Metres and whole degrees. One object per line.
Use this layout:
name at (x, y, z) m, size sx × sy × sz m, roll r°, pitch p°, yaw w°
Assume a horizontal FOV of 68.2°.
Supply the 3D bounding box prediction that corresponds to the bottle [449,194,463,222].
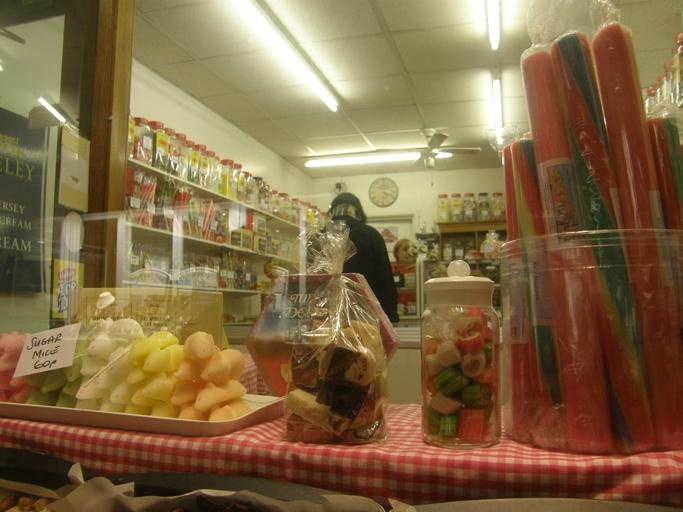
bottle at (0.963, -0.413, 4.232) m, size 0.111 × 0.271 × 0.294 m, roll -3°, pitch -3°, yaw 12°

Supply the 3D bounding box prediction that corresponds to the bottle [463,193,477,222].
bottle at (1.026, -0.391, 4.039) m, size 0.098 × 0.223 × 0.124 m, roll -3°, pitch -3°, yaw 12°

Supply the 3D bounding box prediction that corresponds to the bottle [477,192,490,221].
bottle at (1.116, -0.394, 3.962) m, size 0.096 × 0.209 × 0.144 m, roll -4°, pitch -3°, yaw 14°

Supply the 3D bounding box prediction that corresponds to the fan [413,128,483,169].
fan at (0.766, -0.793, 3.706) m, size 0.322 × 0.138 × 0.333 m, roll 0°, pitch -4°, yaw -4°

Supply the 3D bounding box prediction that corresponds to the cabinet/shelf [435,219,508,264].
cabinet/shelf at (0.892, -0.100, 3.454) m, size 0.322 × 0.324 × 0.107 m, roll -2°, pitch -4°, yaw 34°

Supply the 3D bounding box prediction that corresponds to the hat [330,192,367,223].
hat at (0.028, -0.228, 2.429) m, size 0.139 × 0.132 × 0.166 m, roll -4°, pitch -23°, yaw 10°

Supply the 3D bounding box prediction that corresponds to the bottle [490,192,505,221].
bottle at (1.188, -0.392, 3.858) m, size 0.098 × 0.247 × 0.341 m, roll -4°, pitch -3°, yaw 16°

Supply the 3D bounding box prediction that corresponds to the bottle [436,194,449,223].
bottle at (0.865, -0.409, 4.275) m, size 0.104 × 0.271 × 0.274 m, roll -3°, pitch -3°, yaw 11°

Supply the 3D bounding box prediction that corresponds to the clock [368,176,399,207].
clock at (0.401, -0.623, 4.742) m, size 0.201 × 0.202 × 0.027 m, roll -46°, pitch 9°, yaw 15°
